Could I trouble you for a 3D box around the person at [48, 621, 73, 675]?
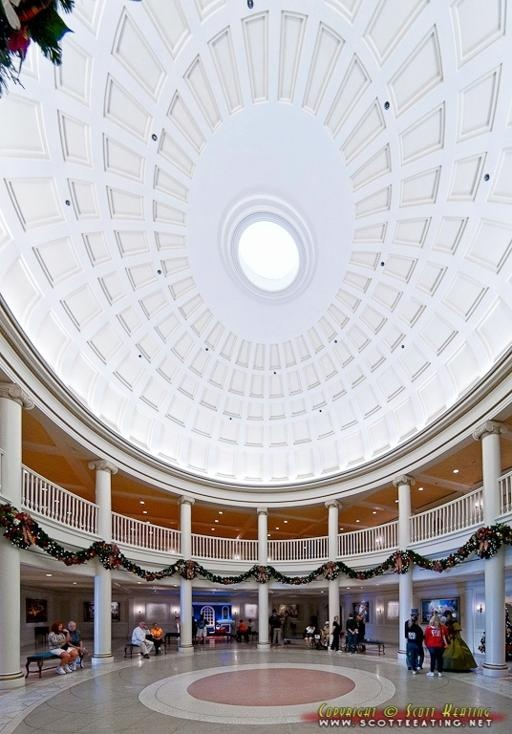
[{"bbox_3d":[-4.788,6.955,12.694,0.633,1.100,1.037,6,-20,-18],"label":"person"}]
